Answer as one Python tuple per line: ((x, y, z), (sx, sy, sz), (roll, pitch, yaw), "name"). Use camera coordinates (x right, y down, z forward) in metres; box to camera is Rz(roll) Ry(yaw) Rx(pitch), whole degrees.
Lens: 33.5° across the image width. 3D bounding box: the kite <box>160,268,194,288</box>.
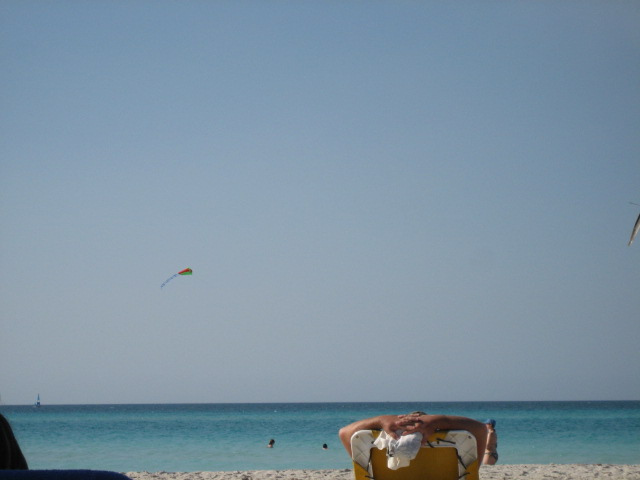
((-12.597, 3.340, 94.782), (3.175, 0.788, 1.424), (-30, -45, -21), "kite")
